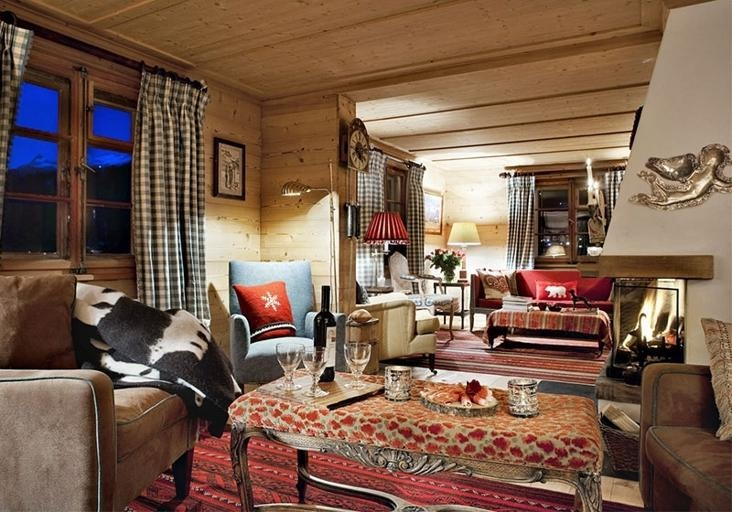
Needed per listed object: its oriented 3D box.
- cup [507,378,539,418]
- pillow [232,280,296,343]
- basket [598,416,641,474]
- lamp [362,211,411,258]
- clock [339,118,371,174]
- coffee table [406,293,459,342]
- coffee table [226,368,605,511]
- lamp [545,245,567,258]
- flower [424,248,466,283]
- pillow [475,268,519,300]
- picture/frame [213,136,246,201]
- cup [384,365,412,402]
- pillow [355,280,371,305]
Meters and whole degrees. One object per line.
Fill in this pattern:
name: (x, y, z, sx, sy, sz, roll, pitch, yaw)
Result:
cup: (0.698, 0.644, 2.289, 0.190, 0.160, 0.171, 0, -4, 2)
pillow: (-0.884, 0.474, 4.327, 0.461, 0.480, 0.314, -1, 2, -29)
basket: (1.548, 1.214, 3.185, 0.299, 0.241, 0.256, 0, -6, 4)
lamp: (0.211, -0.274, 5.774, 0.512, 0.372, 0.473, 1, 3, 20)
clock: (-0.123, -1.170, 5.217, 0.122, 0.546, 0.507, 1, 2, 24)
coffee table: (0.973, 0.837, 7.270, 0.884, 0.613, 0.765, 0, -4, 8)
coffee table: (0.233, 0.828, 2.337, 1.588, 0.367, 0.407, 0, 2, 15)
lamp: (3.460, -0.101, 9.025, 0.355, 0.233, 0.134, 1, 2, 17)
flower: (1.273, 0.154, 8.211, 0.635, 0.486, 0.641, -2, -3, 33)
pillow: (2.015, 0.422, 7.645, 0.579, 0.466, 0.158, 1, -33, -28)
picture/frame: (-1.381, -0.874, 4.986, 0.043, 0.588, 0.399, 2, 3, 34)
cup: (0.154, 0.625, 2.451, 0.175, 0.152, 0.162, 0, -3, 0)
pillow: (-0.085, 0.422, 5.636, 0.213, 0.204, 0.068, 13, -16, -27)
